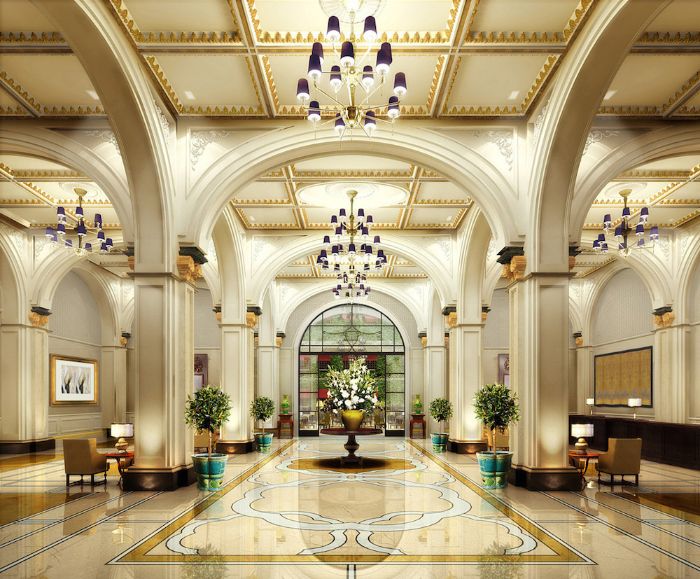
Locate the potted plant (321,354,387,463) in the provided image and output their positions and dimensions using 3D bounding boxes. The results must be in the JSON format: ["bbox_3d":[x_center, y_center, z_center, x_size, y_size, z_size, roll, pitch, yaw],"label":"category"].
[{"bbox_3d":[0.027,3.189,14.812,1.453,2.333,1.474,-8,-21,17],"label":"potted plant"}]

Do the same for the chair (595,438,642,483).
[{"bbox_3d":[4.870,3.168,10.510,0.811,0.804,0.805,-5,-17,32],"label":"chair"}]

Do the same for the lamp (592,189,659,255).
[{"bbox_3d":[6.529,-1.467,13.571,1.311,1.437,1.392,4,3,16],"label":"lamp"}]

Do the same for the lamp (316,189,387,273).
[{"bbox_3d":[0.157,-1.534,15.973,1.679,2.175,1.654,-5,7,-6],"label":"lamp"}]

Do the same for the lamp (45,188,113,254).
[{"bbox_3d":[-6.402,-1.530,13.728,1.493,1.589,1.513,-6,-9,23],"label":"lamp"}]

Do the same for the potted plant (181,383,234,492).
[{"bbox_3d":[-2.445,2.627,10.309,0.819,1.817,1.003,2,-10,-14],"label":"potted plant"}]
